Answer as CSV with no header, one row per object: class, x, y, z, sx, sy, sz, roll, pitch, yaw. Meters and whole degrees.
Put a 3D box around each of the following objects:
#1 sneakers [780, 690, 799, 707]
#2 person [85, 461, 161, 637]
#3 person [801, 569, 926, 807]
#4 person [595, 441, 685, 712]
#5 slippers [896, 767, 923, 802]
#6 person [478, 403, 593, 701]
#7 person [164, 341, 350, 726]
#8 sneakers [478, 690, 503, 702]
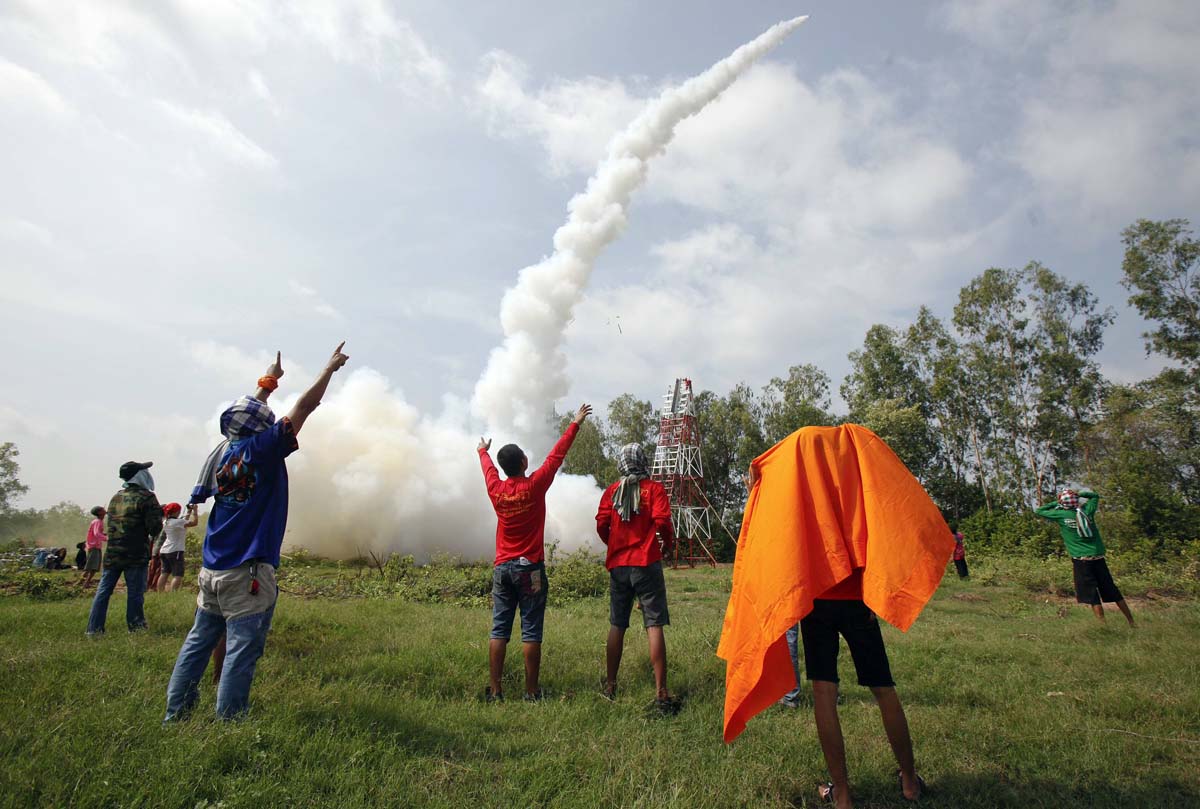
sneakers,2.303,3.585,8.950,0.147,0.228,0.228,0,-22,9
person,-7.259,2.155,11.254,0.843,2.762,1.279,4,0,-33
person,2.537,2.751,7.238,1.086,2.164,0.514,4,0,-16
person,0.465,2.091,9.537,1.010,3.331,1.577,3,0,-5
slippers,3.028,3.731,7.152,0.124,0.279,0.385,-13,-21,37
person,-0.963,1.926,9.500,1.170,3.729,0.969,3,0,0
person,-3.725,1.422,7.636,1.229,3.958,0.795,3,0,9
sneakers,-1.358,3.634,9.134,0.215,0.123,0.333,-6,-28,-14
